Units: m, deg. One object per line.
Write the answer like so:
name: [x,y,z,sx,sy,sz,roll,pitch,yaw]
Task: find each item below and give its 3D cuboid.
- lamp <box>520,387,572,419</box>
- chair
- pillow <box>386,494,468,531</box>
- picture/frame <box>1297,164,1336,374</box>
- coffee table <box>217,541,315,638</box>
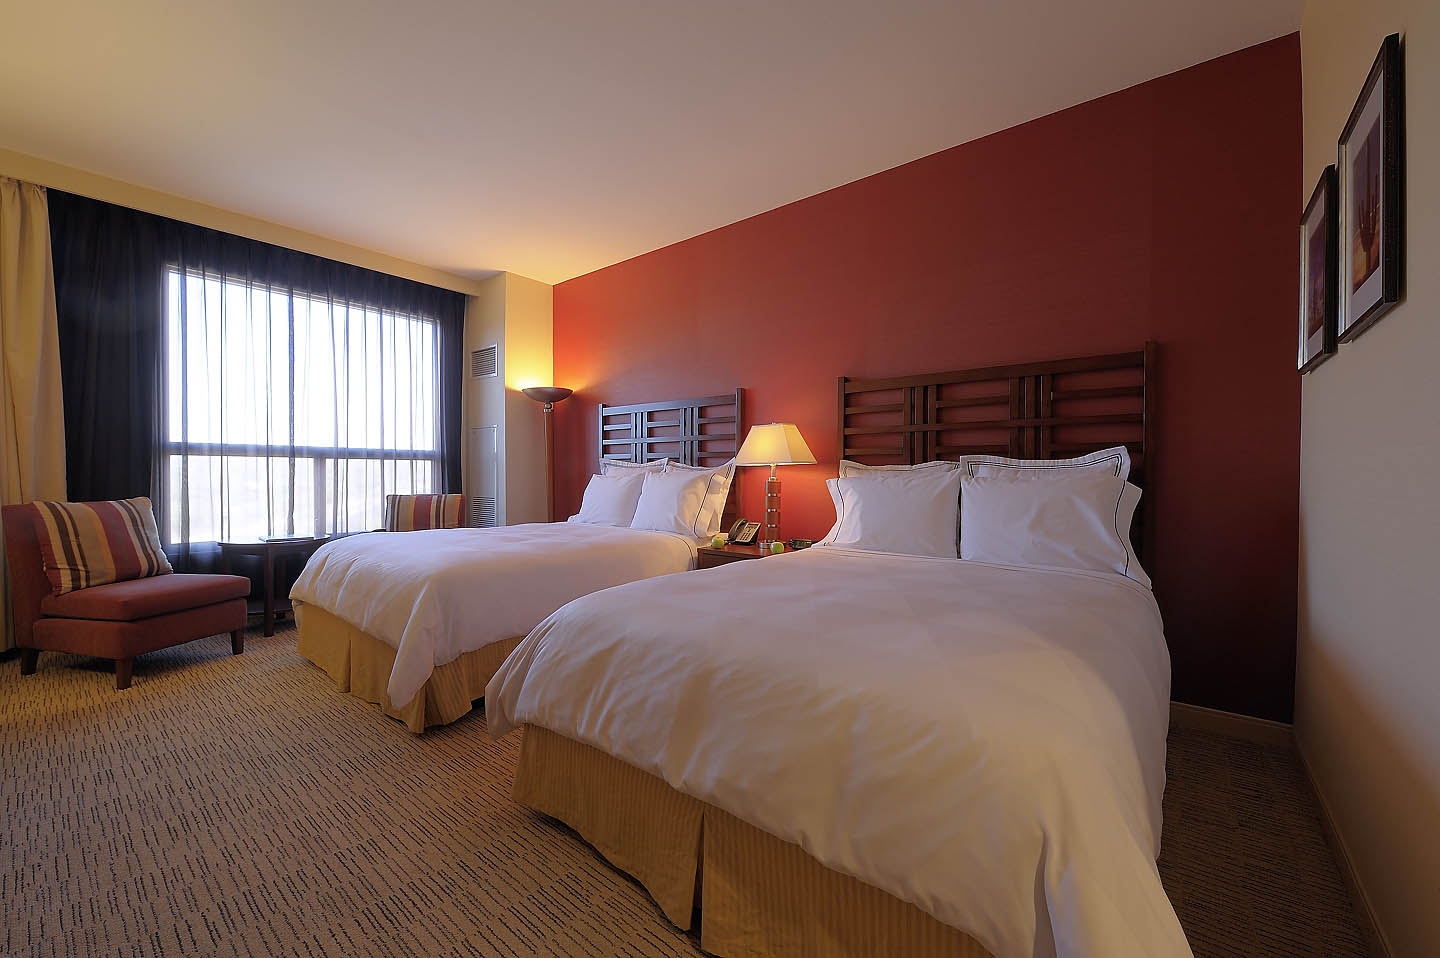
lamp: [-1.496,-0.667,7.542,0.278,0.372,0.278,-2,7,-21]
chair: [-3.713,0.675,5.323,1.274,1.051,0.543,0,6,-5]
pillow: [-2.337,0.263,6.882,0.417,0.331,0.331,1,-12,2]
picture/frame: [2.897,-0.988,4.198,0.106,0.925,0.542,3,6,26]
coffee table: [-3.318,0.707,6.405,0.602,0.726,0.660,6,6,44]
